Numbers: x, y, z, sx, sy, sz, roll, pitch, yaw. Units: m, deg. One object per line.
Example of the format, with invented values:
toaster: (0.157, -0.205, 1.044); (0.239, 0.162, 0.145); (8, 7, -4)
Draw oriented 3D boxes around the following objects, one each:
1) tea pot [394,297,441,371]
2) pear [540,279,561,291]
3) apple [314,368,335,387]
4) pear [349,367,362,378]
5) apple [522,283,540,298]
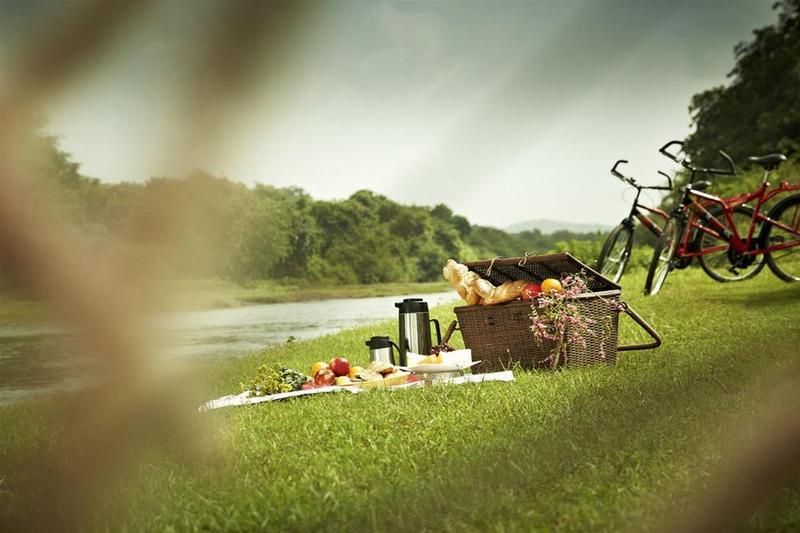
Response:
tea pot: (0.202, 0.724, 7.321); (0.452, 0.698, 0.640); (-3, 3, -2)
pear: (1.377, 0.184, 6.048); (0.122, 0.130, 0.119); (-5, 1, 16)
apple: (-0.755, 1.095, 6.484); (0.147, 0.187, 0.162); (1, -12, 19)
pear: (-0.442, 1.053, 6.598); (0.095, 0.122, 0.097); (0, -1, -5)
apple: (1.238, 0.231, 6.244); (0.111, 0.124, 0.154); (5, -1, 35)
